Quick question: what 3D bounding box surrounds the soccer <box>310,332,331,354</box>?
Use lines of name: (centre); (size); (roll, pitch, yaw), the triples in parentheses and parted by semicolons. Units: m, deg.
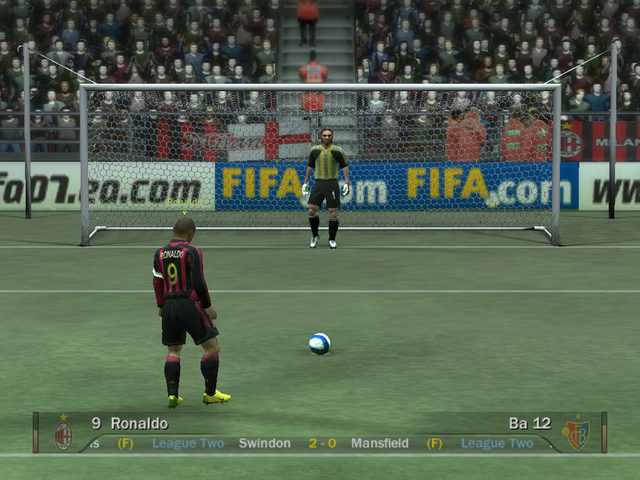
soccer: (-0.012, 1.117, 10.239); (0.211, 0.196, 0.207); (-4, -26, 6)

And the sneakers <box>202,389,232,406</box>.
sneakers: (-0.946, 1.434, 8.920); (0.256, 0.129, 0.266); (-3, 4, -6)

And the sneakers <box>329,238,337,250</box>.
sneakers: (0.214, 0.085, 17.595); (0.185, 0.166, 0.389); (0, 6, -1)

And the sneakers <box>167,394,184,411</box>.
sneakers: (-1.295, 1.453, 8.727); (0.072, 0.086, 0.183); (1, 1, 2)
